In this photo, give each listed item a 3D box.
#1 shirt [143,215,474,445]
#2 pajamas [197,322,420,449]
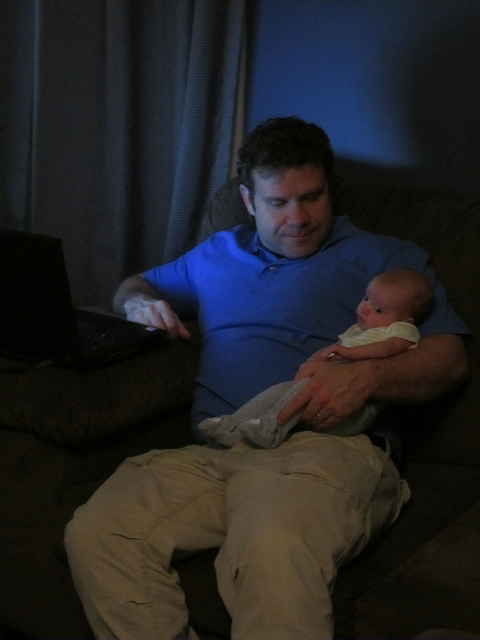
[{"bbox_3d":[0.165,0.032,1.330,0.596,0.282,0.168,-2,-13,41],"label":"shirt"},{"bbox_3d":[0.186,0.113,1.245,0.494,0.185,0.193,-13,31,-23],"label":"pajamas"}]
